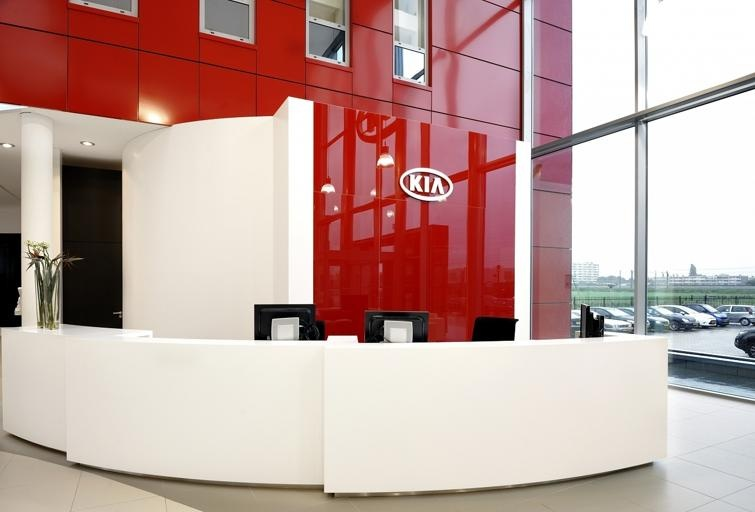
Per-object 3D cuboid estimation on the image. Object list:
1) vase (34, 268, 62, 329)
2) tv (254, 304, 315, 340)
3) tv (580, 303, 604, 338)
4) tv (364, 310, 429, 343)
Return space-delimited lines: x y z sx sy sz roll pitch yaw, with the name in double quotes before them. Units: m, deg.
"vase" -4.285 0.552 7.644 0.253 0.780 0.255 1 -2 -22
"tv" -1.141 0.731 7.140 0.769 0.641 0.403 0 -1 -3
"tv" 2.707 0.816 7.435 0.317 0.582 0.599 0 -4 21
"tv" 0.180 0.812 7.214 0.620 0.407 0.141 2 3 10
